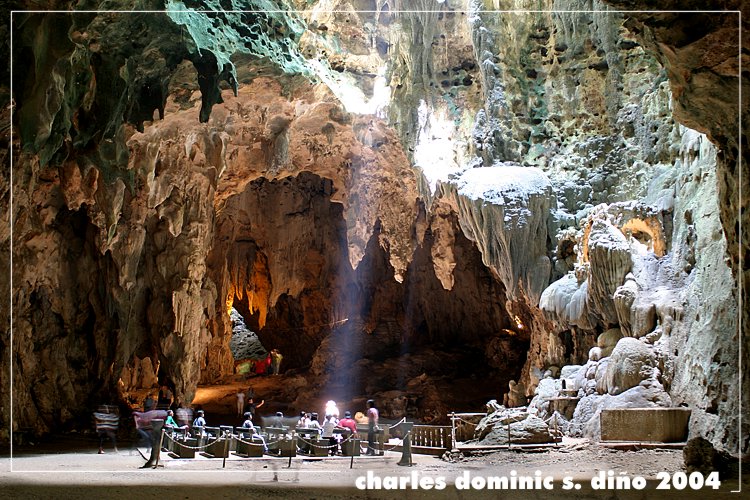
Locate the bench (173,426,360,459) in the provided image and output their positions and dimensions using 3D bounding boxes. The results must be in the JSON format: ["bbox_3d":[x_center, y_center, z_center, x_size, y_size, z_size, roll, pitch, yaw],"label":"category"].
[{"bbox_3d":[-2.386,4.004,18.496,3.803,0.585,2.198,0,-6,-4],"label":"bench"}]
